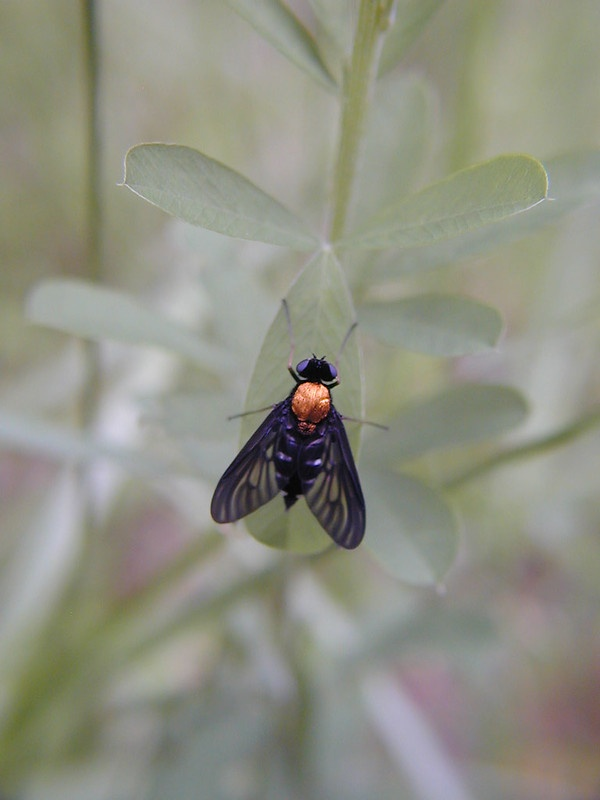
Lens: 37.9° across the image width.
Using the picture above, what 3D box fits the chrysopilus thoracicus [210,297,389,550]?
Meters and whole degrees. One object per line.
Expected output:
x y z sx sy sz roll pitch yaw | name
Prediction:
-0.004 0.040 0.726 0.126 0.127 0.112 6 -67 0 | chrysopilus thoracicus
